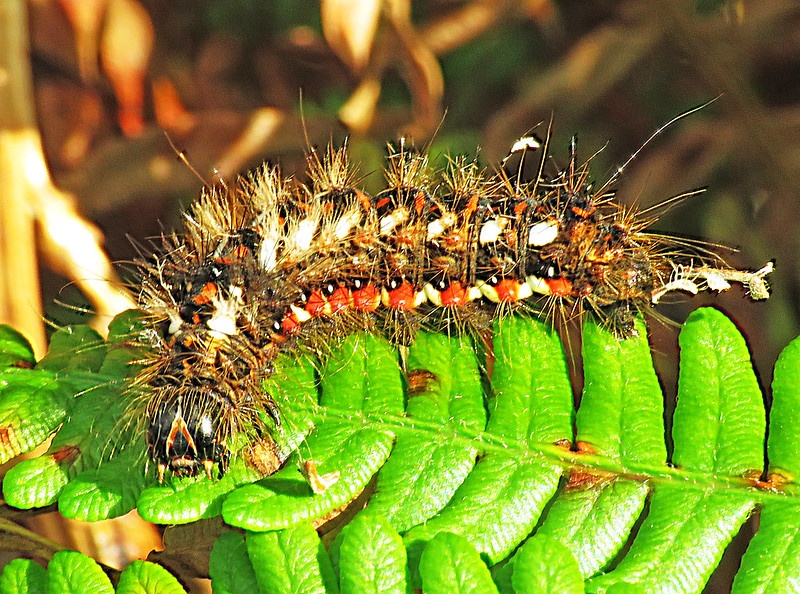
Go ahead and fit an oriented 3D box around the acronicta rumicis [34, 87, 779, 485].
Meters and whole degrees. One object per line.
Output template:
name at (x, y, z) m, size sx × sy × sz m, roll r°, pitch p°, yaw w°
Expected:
acronicta rumicis at (0.105, -0.012, 5.525) m, size 2.737 × 1.494 × 1.599 m, roll 3°, pitch -71°, yaw 3°
